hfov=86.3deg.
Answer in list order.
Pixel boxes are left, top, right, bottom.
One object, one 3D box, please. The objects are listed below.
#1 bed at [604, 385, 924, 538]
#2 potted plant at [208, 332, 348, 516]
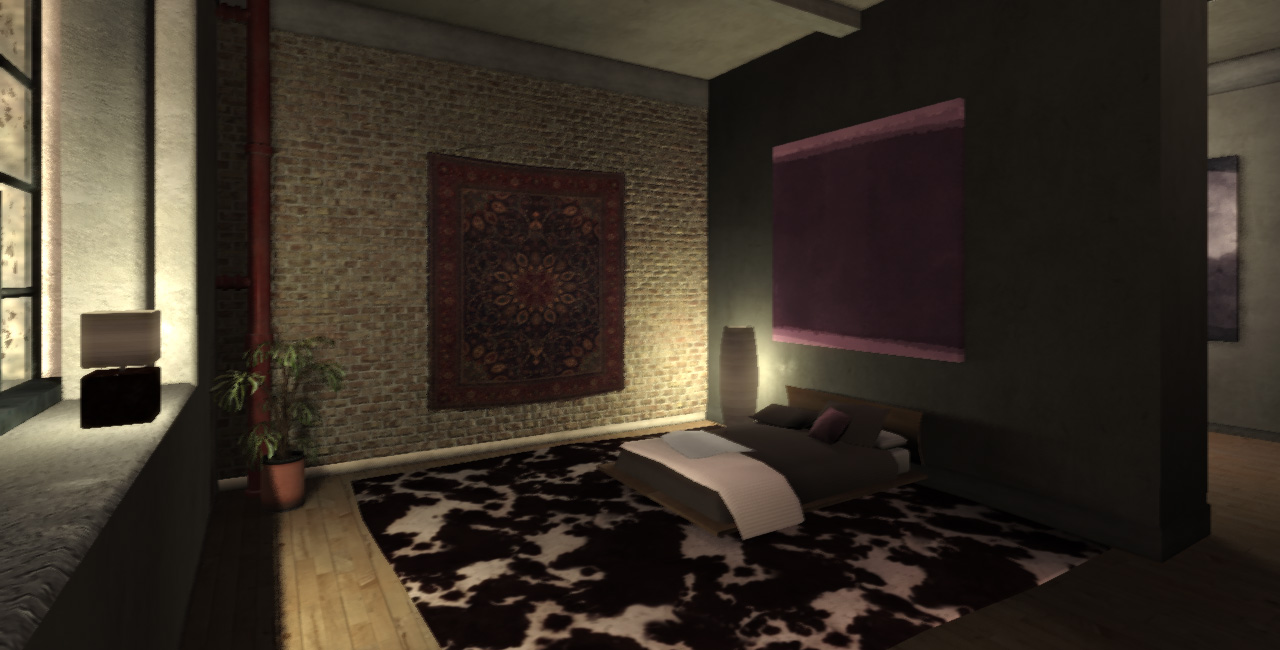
[{"bbox_3d":[1.605,1.451,7.260,2.324,0.541,1.673,-2,4,-29],"label":"bed"},{"bbox_3d":[-3.799,1.031,7.406,1.226,1.717,0.816,-4,7,-22],"label":"potted plant"}]
